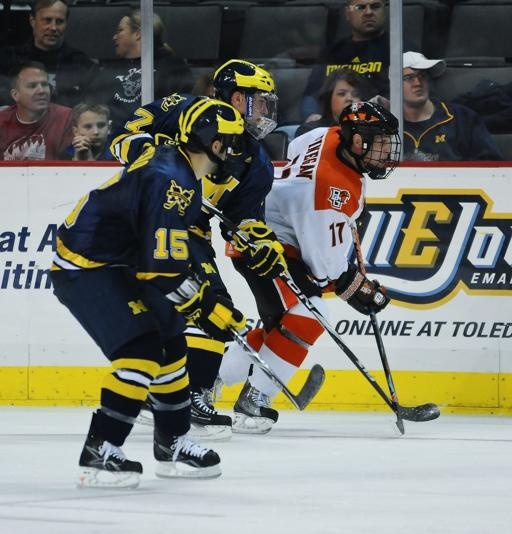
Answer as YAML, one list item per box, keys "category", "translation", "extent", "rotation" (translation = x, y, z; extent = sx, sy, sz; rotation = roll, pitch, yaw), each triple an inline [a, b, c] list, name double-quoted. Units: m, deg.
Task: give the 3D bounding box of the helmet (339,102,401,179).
- category: "helmet"
  translation: [0.487, -0.539, 4.004]
  extent: [0.395, 0.305, 0.287]
  rotation: [5, 7, 11]

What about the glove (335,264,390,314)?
- category: "glove"
  translation: [0.445, 0.105, 4.165]
  extent: [0.266, 0.108, 0.169]
  rotation: [26, 22, -24]

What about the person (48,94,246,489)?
- category: "person"
  translation: [-0.354, 0.078, 3.186]
  extent: [0.585, 1.286, 0.486]
  rotation: [1, 14, -23]

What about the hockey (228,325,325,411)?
- category: "hockey"
  translation: [0.067, 0.428, 3.972]
  extent: [0.396, 0.124, 0.394]
  rotation: [38, 9, 11]

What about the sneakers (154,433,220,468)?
- category: "sneakers"
  translation: [-0.181, 0.612, 3.256]
  extent: [0.292, 0.108, 0.081]
  rotation: [1, 24, 11]

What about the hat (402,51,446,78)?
- category: "hat"
  translation: [0.815, -1.001, 4.723]
  extent: [0.195, 0.055, 0.112]
  rotation: [11, 20, 18]

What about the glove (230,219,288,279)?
- category: "glove"
  translation: [0.016, -0.071, 3.831]
  extent: [0.250, 0.193, 0.107]
  rotation: [48, -8, 0]
